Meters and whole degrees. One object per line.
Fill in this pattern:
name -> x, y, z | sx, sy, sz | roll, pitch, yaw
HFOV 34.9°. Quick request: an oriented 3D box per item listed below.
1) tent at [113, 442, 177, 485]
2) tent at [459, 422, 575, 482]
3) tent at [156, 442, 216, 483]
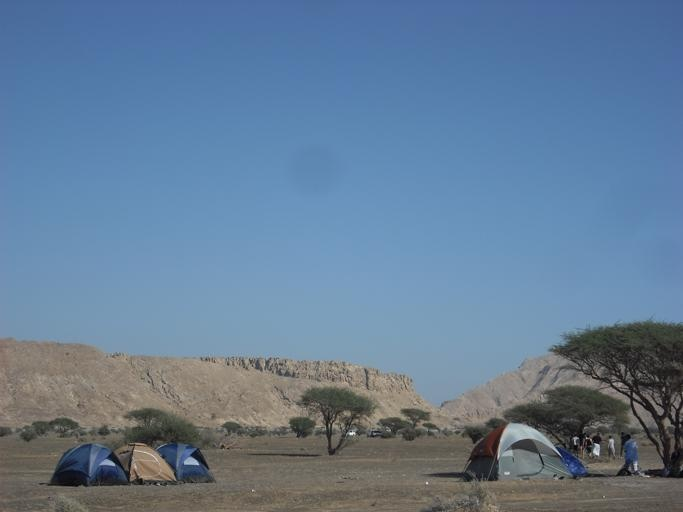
tent -> -15.139, 15.799, 82.951 | 4.853, 2.838, 3.574 | -1, -9, -17
tent -> 13.155, 14.929, 82.329 | 7.033, 4.403, 2.014 | 3, -6, 3
tent -> -11.728, 15.960, 83.388 | 3.708, 1.955, 3.397 | 0, -2, 6
